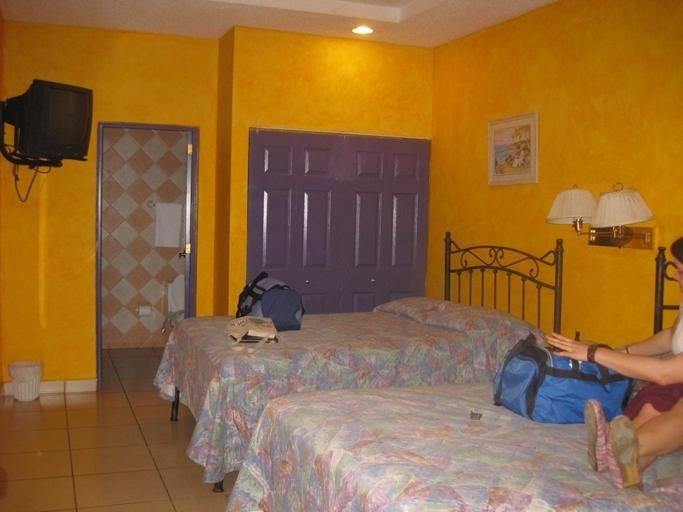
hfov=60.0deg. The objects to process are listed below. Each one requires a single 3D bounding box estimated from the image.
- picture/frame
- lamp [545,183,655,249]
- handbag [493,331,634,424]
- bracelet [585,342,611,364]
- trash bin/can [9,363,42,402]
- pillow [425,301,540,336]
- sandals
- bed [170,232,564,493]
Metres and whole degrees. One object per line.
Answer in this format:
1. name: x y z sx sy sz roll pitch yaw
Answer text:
1. picture/frame: 1.476 -0.928 5.032 0.029 0.658 0.626 -4 7 -28
2. lamp: 1.751 -0.266 3.977 0.382 0.490 0.752 -9 9 -23
3. handbag: 1.113 0.604 2.943 0.501 0.241 0.372 7 4 -17
4. bracelet: 1.211 0.455 2.796 0.091 0.046 0.105 0 0 37
5. trash bin/can: -2.860 1.133 5.364 0.259 0.344 0.266 -8 11 -32
6. pillow: 1.084 0.483 4.474 0.366 0.093 0.383 -5 11 -35
7. sandals: 1.084 0.730 2.342 0.215 0.326 0.163 1 9 16
8. bed: 0.244 0.631 4.610 2.422 1.358 1.760 -1 4 -18
